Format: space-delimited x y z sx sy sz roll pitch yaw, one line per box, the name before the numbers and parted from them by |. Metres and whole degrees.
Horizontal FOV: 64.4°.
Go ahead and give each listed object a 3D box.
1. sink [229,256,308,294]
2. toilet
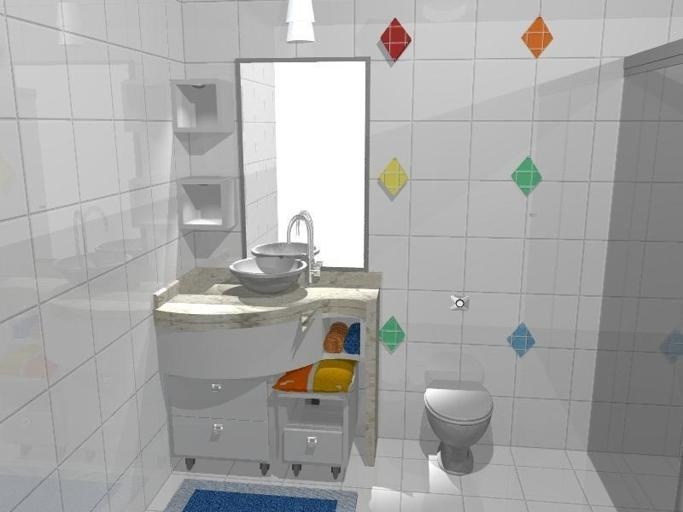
sink | -0.438 0.127 3.276 0.449 0.446 0.163 0 -76 3
toilet | 0.674 1.077 3.463 0.431 0.500 0.439 0 -76 1
